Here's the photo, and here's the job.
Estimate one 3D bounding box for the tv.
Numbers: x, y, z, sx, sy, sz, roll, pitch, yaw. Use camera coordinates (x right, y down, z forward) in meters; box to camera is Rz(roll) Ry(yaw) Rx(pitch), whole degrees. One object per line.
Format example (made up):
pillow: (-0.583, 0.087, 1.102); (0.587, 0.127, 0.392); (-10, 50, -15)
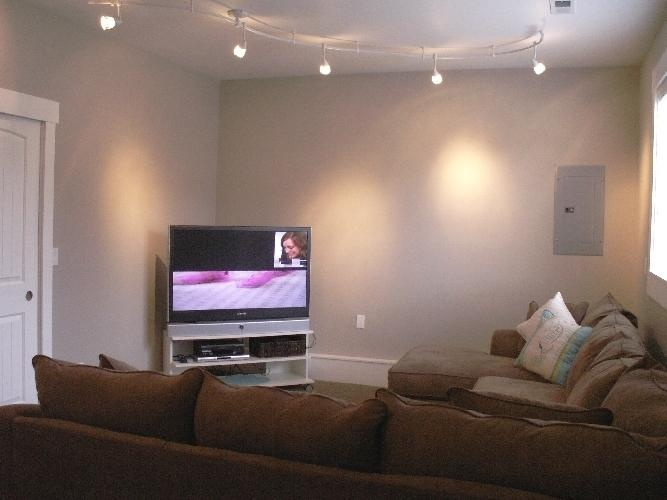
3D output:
tv: (-0.921, 0.289, 5.124); (1.019, 0.745, 0.078); (1, -1, -17)
